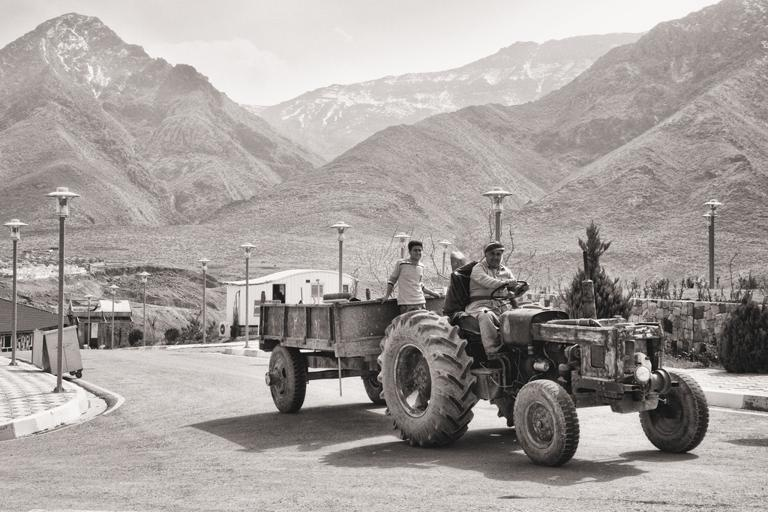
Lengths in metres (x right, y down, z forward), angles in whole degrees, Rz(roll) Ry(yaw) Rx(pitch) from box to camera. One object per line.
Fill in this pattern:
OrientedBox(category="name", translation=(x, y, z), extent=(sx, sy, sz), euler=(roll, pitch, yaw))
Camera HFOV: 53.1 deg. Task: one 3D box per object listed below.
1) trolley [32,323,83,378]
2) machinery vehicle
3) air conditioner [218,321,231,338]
OrientedBox(category="trolley", translation=(-9.914, 2.896, 23.434), extent=(1.210, 1.723, 2.398), euler=(-3, 2, -26))
OrientedBox(category="machinery vehicle", translation=(1.331, 1.742, 13.830), extent=(3.450, 3.026, 6.974), euler=(2, -3, -39))
OrientedBox(category="air conditioner", translation=(-12.399, 5.663, 59.605), extent=(0.407, 1.229, 1.225), euler=(-1, -22, -31))
